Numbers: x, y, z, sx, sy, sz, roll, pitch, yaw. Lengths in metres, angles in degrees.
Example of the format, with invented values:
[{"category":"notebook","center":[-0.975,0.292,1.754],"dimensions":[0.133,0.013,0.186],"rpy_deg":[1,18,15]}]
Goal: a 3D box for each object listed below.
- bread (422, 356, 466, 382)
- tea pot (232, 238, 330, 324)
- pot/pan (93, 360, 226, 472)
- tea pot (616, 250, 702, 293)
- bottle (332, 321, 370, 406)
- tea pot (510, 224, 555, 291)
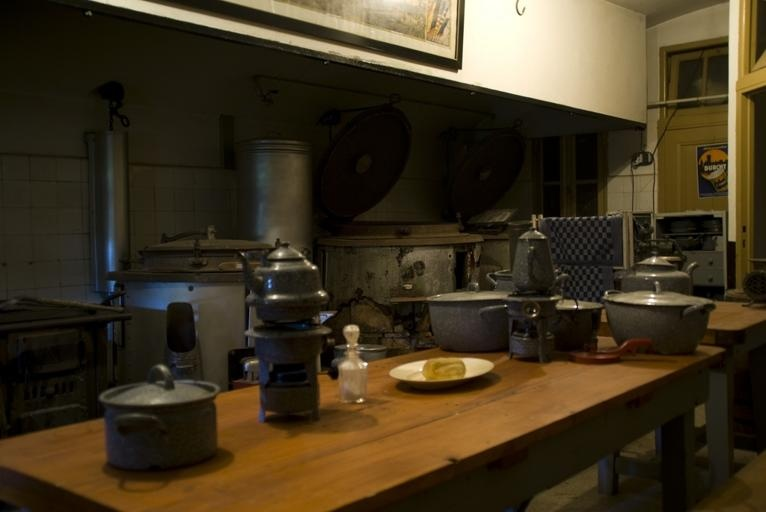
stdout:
[{"category":"bread","center":[0.254,0.472,2.569],"dimensions":[0.187,0.059,0.177],"rpy_deg":[-4,13,-12]},{"category":"tea pot","center":[-0.369,0.101,2.294],"dimensions":[0.300,0.283,0.421],"rpy_deg":[0,2,39]},{"category":"pot/pan","center":[-0.717,0.510,2.062],"dimensions":[0.345,0.276,0.361],"rpy_deg":[-6,-8,26]},{"category":"tea pot","center":[1.633,0.157,3.685],"dimensions":[0.514,0.280,0.385],"rpy_deg":[-2,2,28]},{"category":"bottle","center":[-0.126,0.417,2.462],"dimensions":[0.116,0.294,0.209],"rpy_deg":[-3,13,-6]},{"category":"tea pot","center":[0.713,0.019,2.909],"dimensions":[0.200,0.305,0.306],"rpy_deg":[-2,8,15]}]
